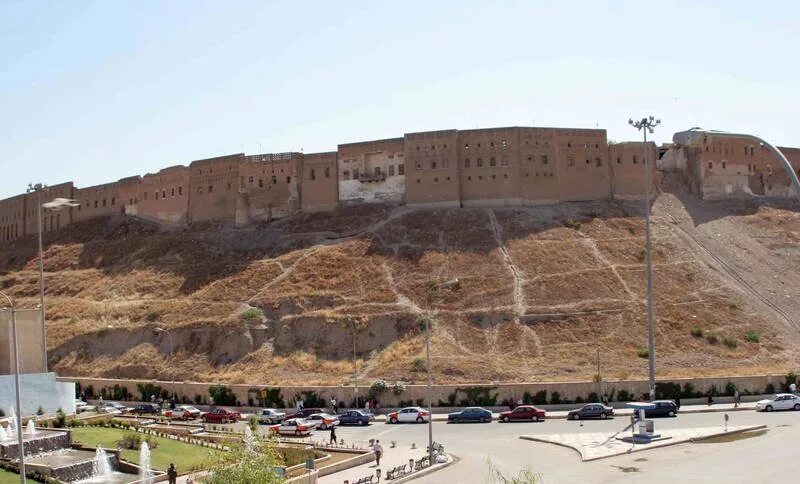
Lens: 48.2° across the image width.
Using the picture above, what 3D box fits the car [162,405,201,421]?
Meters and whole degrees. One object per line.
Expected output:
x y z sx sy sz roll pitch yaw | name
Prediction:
-20.157 15.811 82.831 2.924 0.812 1.358 3 1 17 | car

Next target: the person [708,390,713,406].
27.555 13.750 79.919 0.621 1.182 1.053 -6 -8 18 | person

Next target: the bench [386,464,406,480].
-0.197 16.961 66.305 0.873 0.840 1.565 -11 -10 43 | bench

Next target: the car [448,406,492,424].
6.153 15.118 78.761 3.560 1.077 1.461 2 -4 0 | car

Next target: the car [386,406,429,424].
0.754 15.435 79.989 3.795 1.187 1.656 2 -4 4 | car

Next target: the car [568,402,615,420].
16.410 14.572 77.305 3.525 1.043 1.553 1 -2 3 | car

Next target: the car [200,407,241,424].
-16.370 15.786 81.446 3.056 0.916 1.351 4 0 6 | car

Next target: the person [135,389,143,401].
-25.971 15.339 89.939 1.025 0.900 0.245 -4 -10 29 | person

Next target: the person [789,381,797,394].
35.012 12.973 80.245 0.613 0.953 1.048 -8 -9 25 | person

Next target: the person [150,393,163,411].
-23.764 15.636 88.155 1.015 0.363 1.498 -5 32 -24 | person
